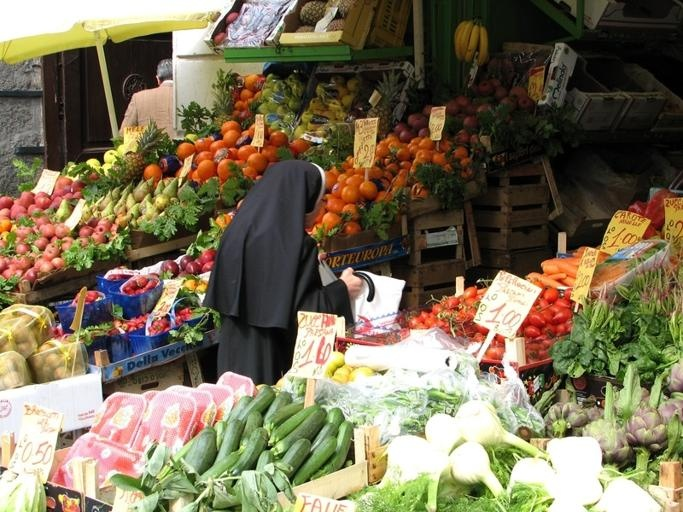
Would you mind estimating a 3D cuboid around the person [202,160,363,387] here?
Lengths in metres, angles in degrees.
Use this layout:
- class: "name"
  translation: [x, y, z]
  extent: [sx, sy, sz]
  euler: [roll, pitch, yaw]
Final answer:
- class: "person"
  translation: [-0.567, 0.196, 4.308]
  extent: [0.777, 1.729, 0.688]
  euler: [-2, 9, -14]
